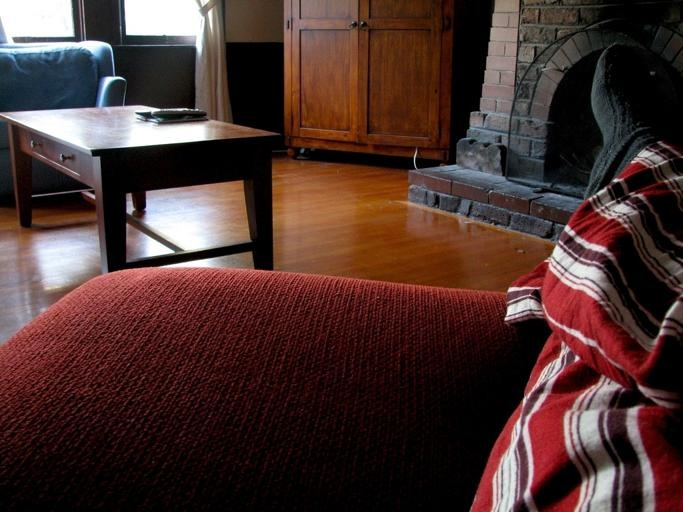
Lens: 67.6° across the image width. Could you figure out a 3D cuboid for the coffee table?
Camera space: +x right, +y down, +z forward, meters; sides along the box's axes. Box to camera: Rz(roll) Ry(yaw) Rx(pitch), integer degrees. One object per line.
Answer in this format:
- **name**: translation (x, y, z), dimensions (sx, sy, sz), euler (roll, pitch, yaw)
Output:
- **coffee table**: translation (-0.903, -0.326, 2.280), dimensions (0.695, 0.558, 1.293), euler (-18, 28, -41)
